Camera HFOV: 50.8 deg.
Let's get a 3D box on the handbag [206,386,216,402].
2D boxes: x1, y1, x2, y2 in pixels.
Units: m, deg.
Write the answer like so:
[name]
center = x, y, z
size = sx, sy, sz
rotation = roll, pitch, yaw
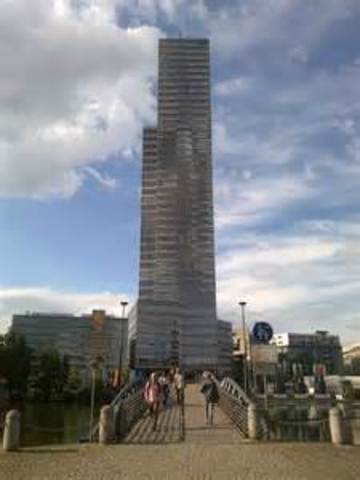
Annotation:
[handbag]
center = 1.065, 5.214, 12.808
size = 0.285, 0.514, 0.377
rotation = 19, -29, -32
